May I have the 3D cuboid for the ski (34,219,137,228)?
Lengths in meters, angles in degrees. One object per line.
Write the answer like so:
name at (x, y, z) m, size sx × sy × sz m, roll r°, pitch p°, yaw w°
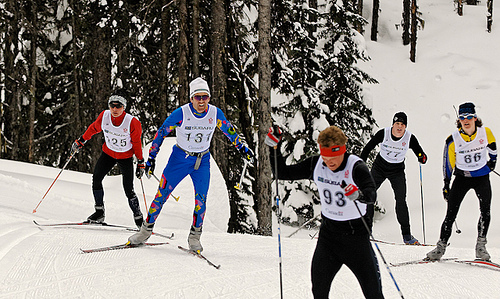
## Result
ski at (-4.653, 2.122, 15.801) m, size 2.644 × 0.243 × 0.267 m, roll 6°, pitch -1°, yaw -17°

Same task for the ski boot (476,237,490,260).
ski boot at (6.424, 2.736, 15.314) m, size 0.371 × 0.511 × 0.299 m, roll 5°, pitch -1°, yaw 19°

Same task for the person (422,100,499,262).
person at (5.893, 0.965, 15.150) m, size 1.461 × 3.704 × 0.843 m, roll 5°, pitch -1°, yaw 17°

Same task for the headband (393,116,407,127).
headband at (4.446, -0.849, 16.445) m, size 0.377 × 0.210 × 0.308 m, roll 5°, pitch -1°, yaw 8°
